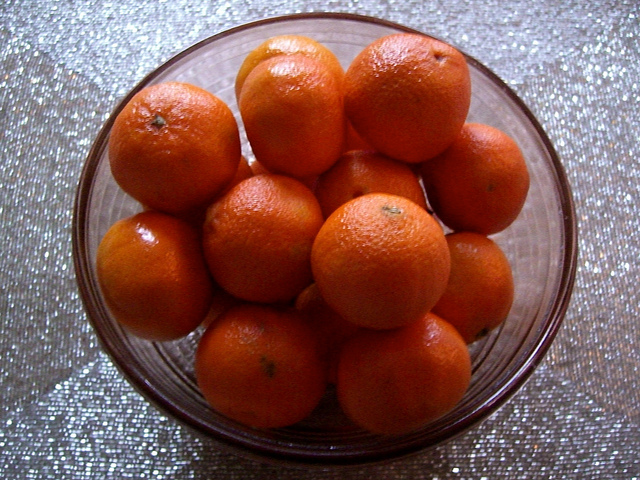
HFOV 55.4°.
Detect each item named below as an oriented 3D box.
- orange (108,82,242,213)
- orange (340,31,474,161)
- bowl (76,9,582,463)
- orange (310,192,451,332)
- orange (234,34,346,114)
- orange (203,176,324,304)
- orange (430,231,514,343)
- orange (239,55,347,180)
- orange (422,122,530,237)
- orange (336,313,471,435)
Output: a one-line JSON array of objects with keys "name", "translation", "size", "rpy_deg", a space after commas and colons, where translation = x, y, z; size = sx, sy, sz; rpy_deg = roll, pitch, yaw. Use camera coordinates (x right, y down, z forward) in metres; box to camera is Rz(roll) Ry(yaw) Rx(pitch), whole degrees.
[{"name": "orange", "translation": [-0.168, -0.106, 0.728], "size": [0.160, 0.113, 0.134], "rpy_deg": [0, 94, -3]}, {"name": "orange", "translation": [0.105, -0.172, 0.741], "size": [0.147, 0.136, 0.162], "rpy_deg": [18, 76, 8]}, {"name": "bowl", "translation": [0.004, -0.010, 0.694], "size": [0.594, 0.305, 0.522], "rpy_deg": [2, 86, -3]}, {"name": "orange", "translation": [0.065, 0.020, 0.646], "size": [0.144, 0.048, 0.142], "rpy_deg": [41, 79, 12]}, {"name": "orange", "translation": [-0.025, -0.212, 0.813], "size": [0.110, 0.101, 0.100], "rpy_deg": [20, 55, 34]}, {"name": "orange", "translation": [-0.069, 0.022, 0.718], "size": [0.125, 0.116, 0.112], "rpy_deg": [-13, 112, -35]}, {"name": "orange", "translation": [0.180, 0.046, 0.741], "size": [0.105, 0.102, 0.112], "rpy_deg": [-3, 102, -36]}, {"name": "orange", "translation": [-0.029, -0.150, 0.733], "size": [0.142, 0.128, 0.146], "rpy_deg": [-6, 102, 8]}, {"name": "orange", "translation": [0.198, -0.072, 0.772], "size": [0.129, 0.125, 0.137], "rpy_deg": [-4, 98, -39]}, {"name": "orange", "translation": [0.092, 0.144, 0.707], "size": [0.146, 0.104, 0.128], "rpy_deg": [-21, 64, -17]}]
